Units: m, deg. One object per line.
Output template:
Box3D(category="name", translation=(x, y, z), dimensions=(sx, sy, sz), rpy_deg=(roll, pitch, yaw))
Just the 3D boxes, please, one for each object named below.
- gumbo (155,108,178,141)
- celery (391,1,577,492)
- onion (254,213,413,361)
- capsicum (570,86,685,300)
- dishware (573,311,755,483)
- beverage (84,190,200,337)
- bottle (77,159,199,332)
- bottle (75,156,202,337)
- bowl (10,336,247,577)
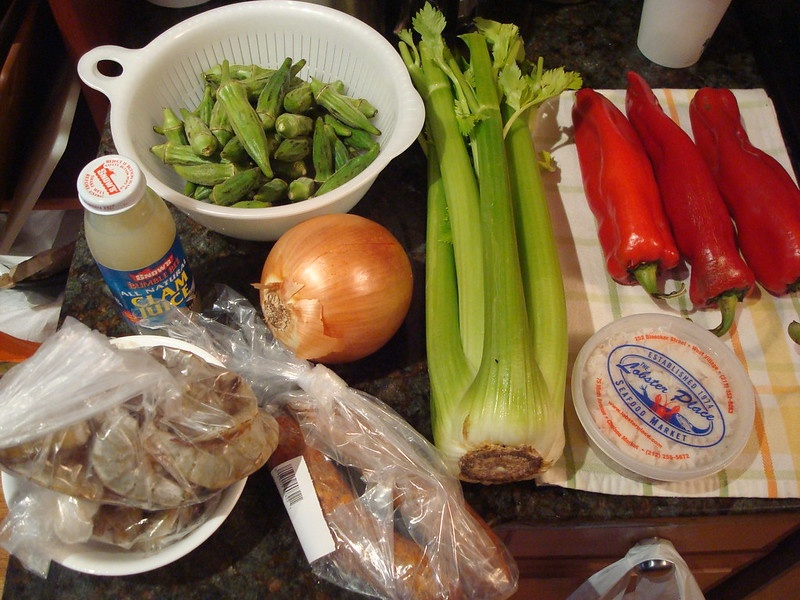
Box3D(category="gumbo", translation=(-0.388, -0.289, 1.125), dimensions=(0.022, 0.045, 0.032), rpy_deg=(12, 42, 22))
Box3D(category="celery", translation=(0.114, -0.094, 1.154), dimensions=(0.261, 0.237, 0.787), rpy_deg=(4, 76, -28))
Box3D(category="onion", translation=(-0.111, -0.029, 1.111), dimensions=(0.235, 0.216, 0.226), rpy_deg=(-15, 91, -17))
Box3D(category="capsicum", translation=(0.394, -0.193, 1.225), dimensions=(0.114, 0.126, 0.423), rpy_deg=(-14, 69, 19))
Box3D(category="dishware", translation=(0.397, 0.140, 1.036), dimensions=(0.269, 0.024, 0.255), rpy_deg=(-4, 65, -3))
Box3D(category="beverage", translation=(-0.379, -0.068, 0.990), dimensions=(0.105, 0.260, 0.115), rpy_deg=(13, 51, 6))
Box3D(category="bottle", translation=(-0.371, -0.073, 0.961), dimensions=(0.117, 0.257, 0.115), rpy_deg=(0, 62, -1))
Box3D(category="bottle", translation=(-0.386, -0.074, 0.988), dimensions=(0.112, 0.288, 0.121), rpy_deg=(4, 53, -5))
Box3D(category="bowl", translation=(-0.327, 0.197, 0.833), dimensions=(0.297, 0.114, 0.337), rpy_deg=(0, 88, 0))
